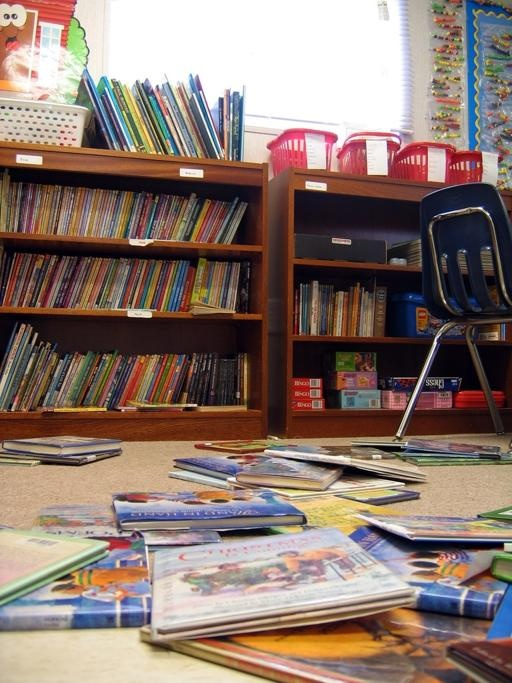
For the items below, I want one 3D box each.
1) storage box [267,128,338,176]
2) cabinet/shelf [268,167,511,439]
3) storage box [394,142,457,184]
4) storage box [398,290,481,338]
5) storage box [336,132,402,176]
[{"bbox_3d":[0.199,-0.819,2.492,0.293,0.221,0.432,2,3,-4],"label":"storage box"},{"bbox_3d":[0.532,-0.156,2.330,1.391,1.177,0.396,0,-3,-13],"label":"cabinet/shelf"},{"bbox_3d":[0.752,-0.789,2.463,0.208,0.114,0.265,2,-7,-7],"label":"storage box"},{"bbox_3d":[0.804,-0.120,2.504,0.272,0.169,0.171,0,0,-24],"label":"storage box"},{"bbox_3d":[0.491,-0.822,2.500,0.227,0.113,0.270,1,12,-3],"label":"storage box"}]
